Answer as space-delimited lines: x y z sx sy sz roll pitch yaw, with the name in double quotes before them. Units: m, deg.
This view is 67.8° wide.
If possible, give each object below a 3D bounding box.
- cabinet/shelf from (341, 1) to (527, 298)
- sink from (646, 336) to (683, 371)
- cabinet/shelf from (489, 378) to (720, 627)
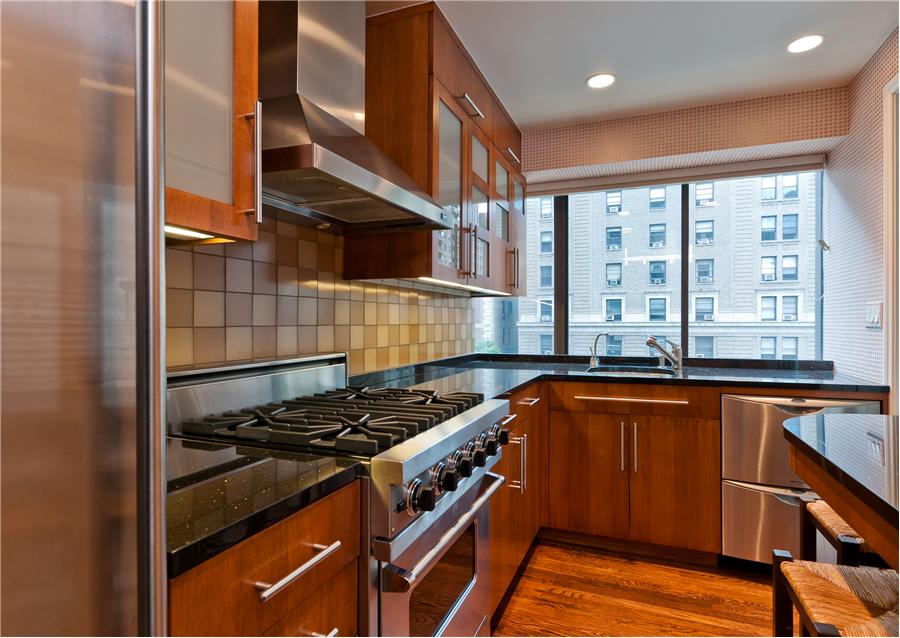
"cabinet/shelf" -0.092 -0.767 2.942 0.292 0.752 1.247 -3 -5 18
"sink" 1.243 0.205 3.906 0.171 0.207 0.599 2 7 16
"cabinet/shelf" 0.663 0.750 3.153 1.071 0.630 1.001 -1 -3 26
